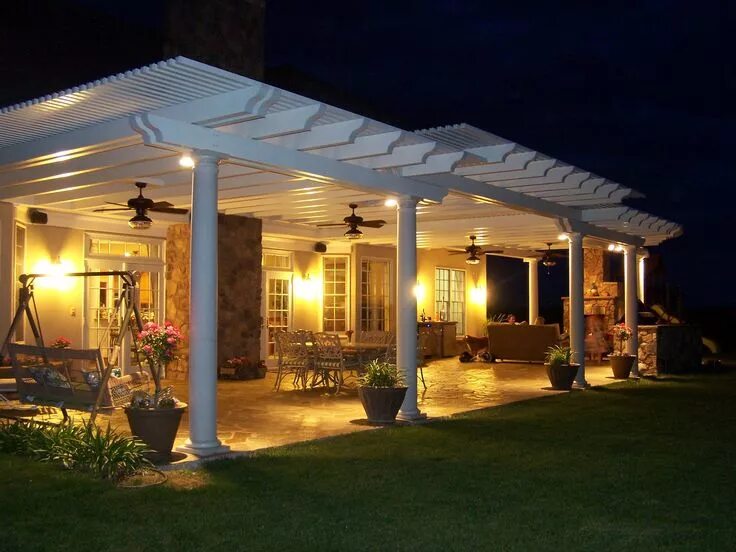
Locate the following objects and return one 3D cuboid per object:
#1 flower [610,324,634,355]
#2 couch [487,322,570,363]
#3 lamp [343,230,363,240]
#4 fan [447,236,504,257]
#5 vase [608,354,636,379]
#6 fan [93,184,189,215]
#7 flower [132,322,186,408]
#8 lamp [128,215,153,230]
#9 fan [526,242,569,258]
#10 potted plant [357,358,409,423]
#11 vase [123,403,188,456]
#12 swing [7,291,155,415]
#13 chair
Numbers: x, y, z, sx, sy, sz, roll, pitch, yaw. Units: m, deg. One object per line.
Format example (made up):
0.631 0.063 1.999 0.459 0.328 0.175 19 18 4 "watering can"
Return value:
5.726 1.423 13.714 0.370 0.676 1.415 1 -2 22 "flower"
4.159 1.770 16.484 1.955 0.984 0.480 0 -3 33 "couch"
-0.278 -0.742 11.065 0.274 0.133 0.241 -1 0 -44 "lamp"
2.498 -0.663 15.641 0.946 0.309 1.070 -4 -4 43 "fan"
5.631 1.960 13.364 0.614 0.521 0.331 2 -2 -13 "vase"
-3.213 -1.052 9.185 0.940 0.711 0.963 2 -3 -42 "fan"
-2.273 0.908 6.547 0.455 0.830 0.977 3 -3 -17 "flower"
-3.402 -0.790 9.026 0.364 0.162 0.298 0 -2 -1 "lamp"
5.572 -0.792 18.704 1.155 0.299 1.049 -3 -5 39 "fan"
0.122 1.515 8.159 0.748 0.723 0.569 4 1 -5 "potted plant"
-2.134 1.527 6.067 0.570 0.478 0.273 2 -3 -17 "vase"
-4.044 1.003 8.355 2.561 1.739 1.883 0 0 28 "swing"
-0.522 1.513 11.354 2.254 0.684 1.753 -4 -7 42 "chair"
